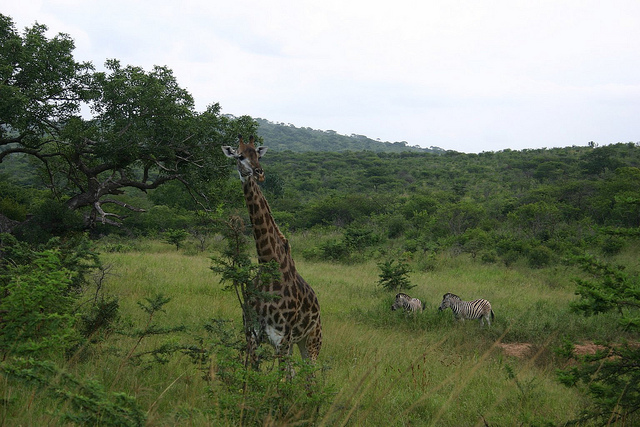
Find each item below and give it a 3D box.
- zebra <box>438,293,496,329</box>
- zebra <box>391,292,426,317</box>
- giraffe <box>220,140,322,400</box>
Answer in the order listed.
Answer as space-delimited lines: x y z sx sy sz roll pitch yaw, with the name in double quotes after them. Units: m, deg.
4.504 3.055 15.949 1.758 1.098 0.500 2 -5 -5 "zebra"
2.741 2.823 16.205 1.033 0.667 0.674 6 5 6 "zebra"
-0.907 1.097 11.237 2.212 5.190 2.283 5 5 -9 "giraffe"
